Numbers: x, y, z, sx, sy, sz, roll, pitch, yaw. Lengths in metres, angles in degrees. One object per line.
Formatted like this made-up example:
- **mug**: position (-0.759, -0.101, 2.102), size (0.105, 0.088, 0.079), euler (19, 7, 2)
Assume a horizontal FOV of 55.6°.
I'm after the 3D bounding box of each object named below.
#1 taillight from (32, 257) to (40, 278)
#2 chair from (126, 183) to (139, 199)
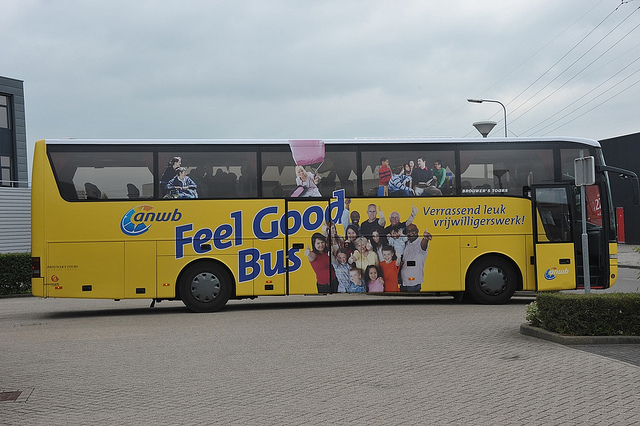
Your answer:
- **taillight**: position (-7.972, 1.531, 17.004), size (0.260, 0.590, 0.092), euler (-2, 0, 24)
- **chair**: position (-5.341, -0.618, 17.295), size (0.385, 0.492, 0.388), euler (0, 0, -29)
